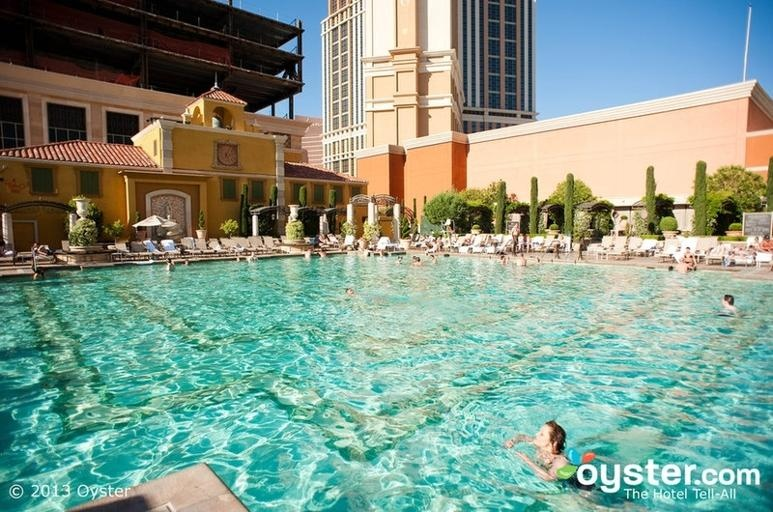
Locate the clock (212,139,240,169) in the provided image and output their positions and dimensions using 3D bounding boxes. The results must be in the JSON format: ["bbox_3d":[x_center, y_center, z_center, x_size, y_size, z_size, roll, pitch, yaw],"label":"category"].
[{"bbox_3d":[-10.289,-6.450,33.600,2.161,1.794,0.270,-6,4,-44],"label":"clock"}]

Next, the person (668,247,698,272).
[{"bbox_3d":[13.051,0.195,23.226,1.054,0.915,2.105,1,5,34],"label":"person"}]

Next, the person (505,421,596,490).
[{"bbox_3d":[3.425,4.095,11.041,1.661,1.232,0.609,0,5,19],"label":"person"}]
